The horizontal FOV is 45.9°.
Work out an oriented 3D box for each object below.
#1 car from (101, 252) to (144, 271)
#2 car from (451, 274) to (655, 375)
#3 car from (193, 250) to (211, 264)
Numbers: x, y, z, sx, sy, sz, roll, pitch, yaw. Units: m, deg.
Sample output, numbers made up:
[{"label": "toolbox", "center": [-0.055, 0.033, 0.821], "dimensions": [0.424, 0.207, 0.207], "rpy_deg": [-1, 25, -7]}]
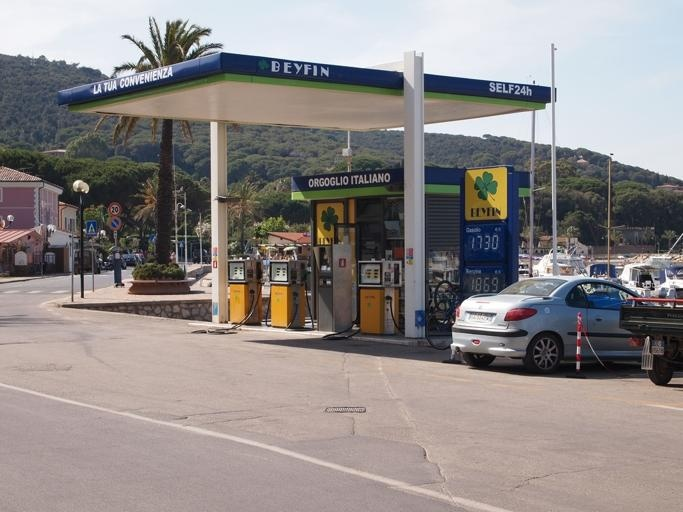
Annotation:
[{"label": "car", "center": [-18.602, 0.455, 68.512], "dimensions": [1.251, 1.070, 2.849], "rpy_deg": [-1, -4, 9]}, {"label": "car", "center": [4.124, 1.136, 15.670], "dimensions": [3.378, 1.448, 1.728], "rpy_deg": [-3, 1, -32]}, {"label": "car", "center": [-18.568, 0.141, 105.904], "dimensions": [1.674, 1.735, 3.229], "rpy_deg": [0, 5, 1]}]
